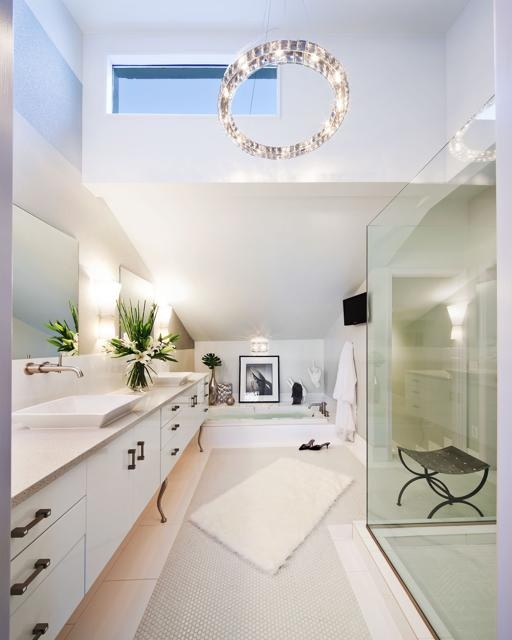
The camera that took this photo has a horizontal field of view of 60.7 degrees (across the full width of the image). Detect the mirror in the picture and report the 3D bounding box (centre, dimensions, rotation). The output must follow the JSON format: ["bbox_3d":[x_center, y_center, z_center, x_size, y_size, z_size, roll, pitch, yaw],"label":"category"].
[{"bbox_3d":[-0.972,-0.282,2.002,0.417,0.552,0.010,-3,-3,21],"label":"mirror"}]

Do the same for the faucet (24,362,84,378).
[{"bbox_3d":[-0.890,0.219,1.906,0.245,0.105,0.080,-3,-2,18],"label":"faucet"}]

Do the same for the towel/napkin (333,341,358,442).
[{"bbox_3d":[0.812,0.651,3.923,0.169,0.886,0.310,1,2,1],"label":"towel/napkin"}]

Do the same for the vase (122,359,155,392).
[{"bbox_3d":[-0.739,0.340,2.765,0.162,0.301,0.213,3,0,-20],"label":"vase"}]

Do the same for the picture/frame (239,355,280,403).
[{"bbox_3d":[0.041,0.729,5.241,0.463,0.655,0.029,-1,-39,0],"label":"picture/frame"}]

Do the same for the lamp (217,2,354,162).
[{"bbox_3d":[0.107,-0.991,1.845,0.528,0.508,0.373,0,2,-7],"label":"lamp"}]

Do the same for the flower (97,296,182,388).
[{"bbox_3d":[-0.788,0.152,2.894,0.411,0.642,0.527,-1,-1,16],"label":"flower"}]
